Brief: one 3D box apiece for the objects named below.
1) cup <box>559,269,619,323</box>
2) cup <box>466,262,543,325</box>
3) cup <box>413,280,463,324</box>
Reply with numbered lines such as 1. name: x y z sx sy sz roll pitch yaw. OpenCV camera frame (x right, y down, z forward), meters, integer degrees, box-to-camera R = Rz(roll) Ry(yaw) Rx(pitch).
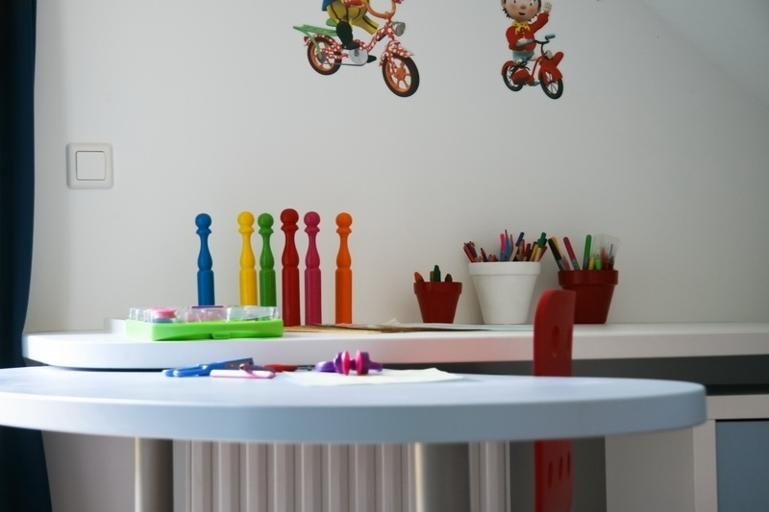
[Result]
1. cup: 0.633 0.132 3.315 0.195 0.235 0.172 0 -8 -3
2. cup: 0.387 0.150 3.267 0.178 0.177 0.192 -1 -7 0
3. cup: 0.171 0.161 3.250 0.120 0.112 0.123 0 -6 0
